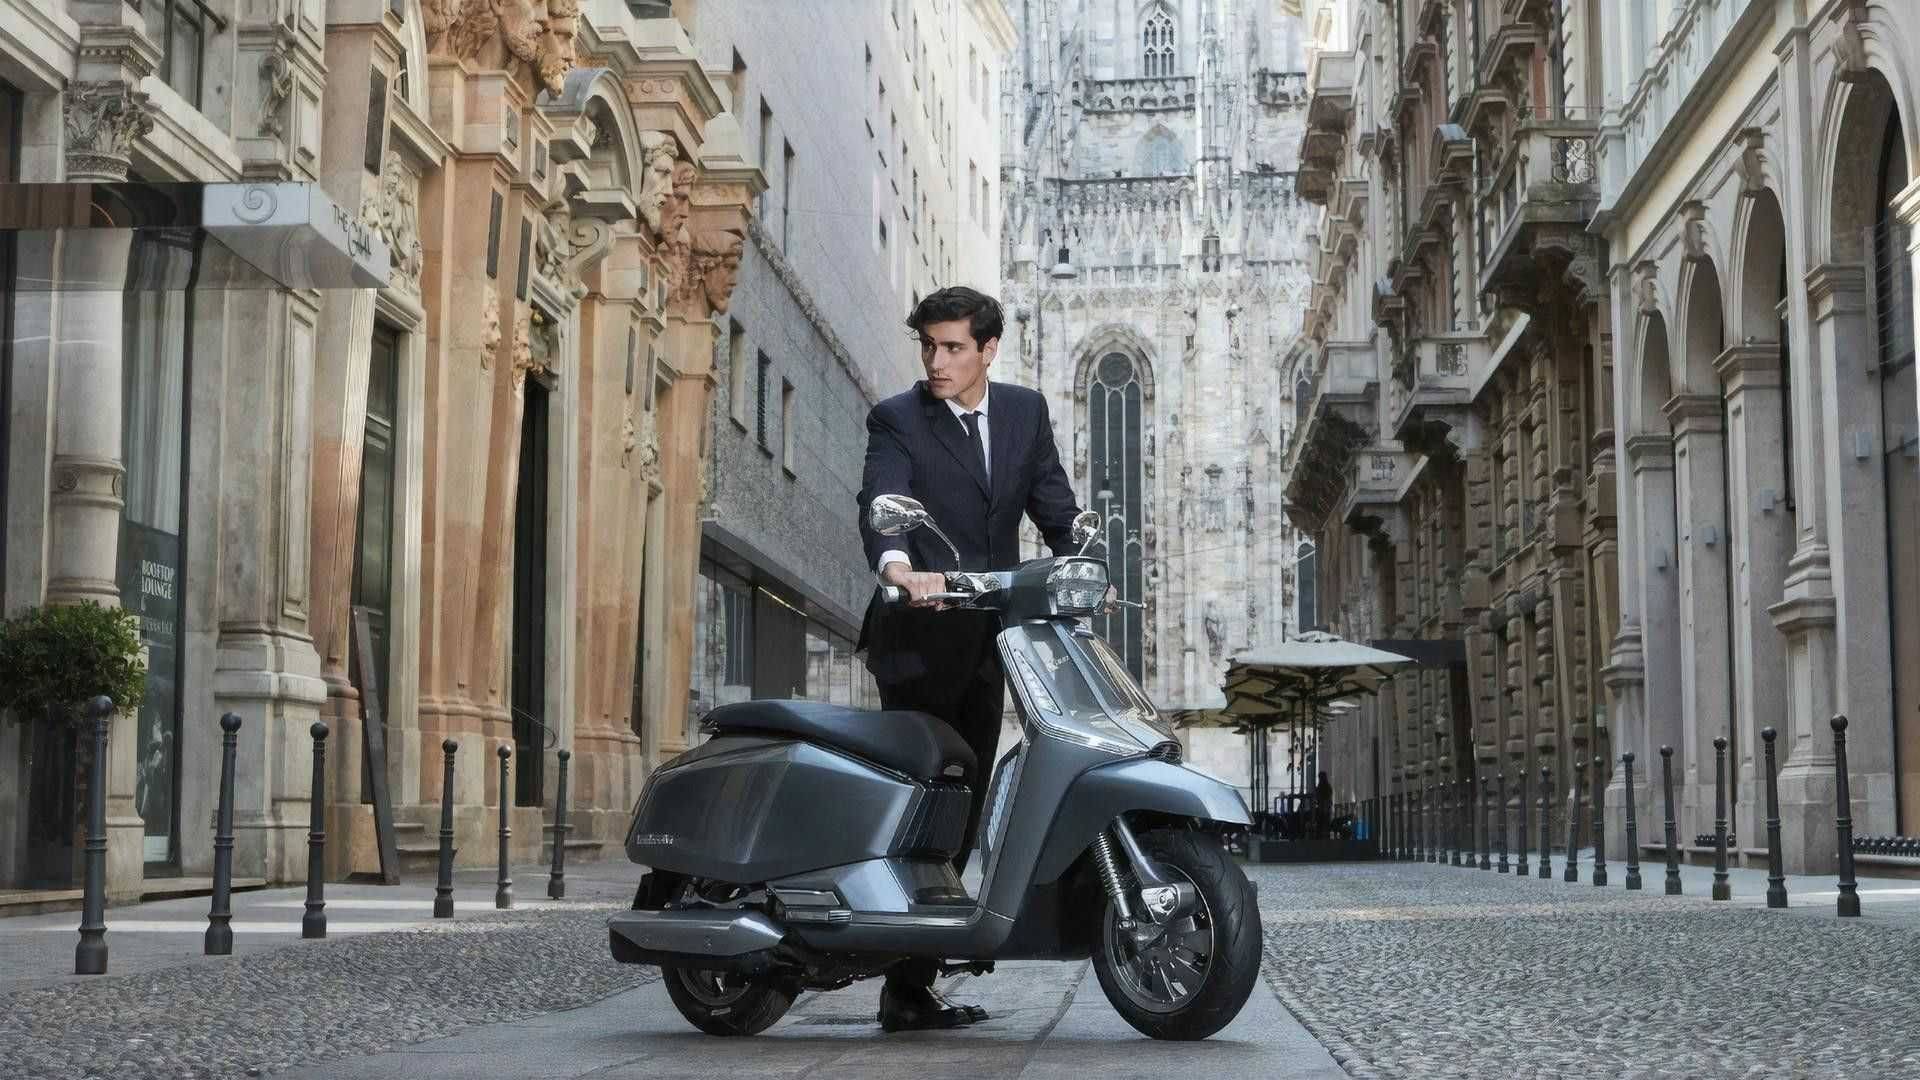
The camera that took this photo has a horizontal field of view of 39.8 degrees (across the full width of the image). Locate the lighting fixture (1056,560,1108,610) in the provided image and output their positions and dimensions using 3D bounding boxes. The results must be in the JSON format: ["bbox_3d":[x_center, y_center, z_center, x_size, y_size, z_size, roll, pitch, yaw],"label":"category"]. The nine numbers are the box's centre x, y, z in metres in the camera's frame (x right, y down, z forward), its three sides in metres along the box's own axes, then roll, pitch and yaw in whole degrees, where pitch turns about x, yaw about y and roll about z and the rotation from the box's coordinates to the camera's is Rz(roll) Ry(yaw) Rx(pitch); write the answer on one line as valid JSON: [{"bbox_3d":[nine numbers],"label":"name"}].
[{"bbox_3d":[0.842,0.331,18.536,0.318,0.346,0.296,3,-1,9],"label":"lighting fixture"}]

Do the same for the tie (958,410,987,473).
[{"bbox_3d":[0.109,-0.727,19.099,0.150,0.487,0.131,-3,-3,5],"label":"tie"}]

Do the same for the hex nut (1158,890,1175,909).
[{"bbox_3d":[1.418,2.456,18.199,0.126,0.127,0.067,0,0,2],"label":"hex nut"}]

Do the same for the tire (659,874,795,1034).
[{"bbox_3d":[-1.577,2.987,18.971,1.041,1.032,0.336,8,-9,4],"label":"tire"}]

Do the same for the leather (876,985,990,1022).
[{"bbox_3d":[-0.251,3.357,18.945,0.516,0.205,0.368,-3,1,-7],"label":"leather"}]

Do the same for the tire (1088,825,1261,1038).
[{"bbox_3d":[1.461,2.684,18.267,1.419,1.627,0.539,-4,-5,35],"label":"tire"}]
